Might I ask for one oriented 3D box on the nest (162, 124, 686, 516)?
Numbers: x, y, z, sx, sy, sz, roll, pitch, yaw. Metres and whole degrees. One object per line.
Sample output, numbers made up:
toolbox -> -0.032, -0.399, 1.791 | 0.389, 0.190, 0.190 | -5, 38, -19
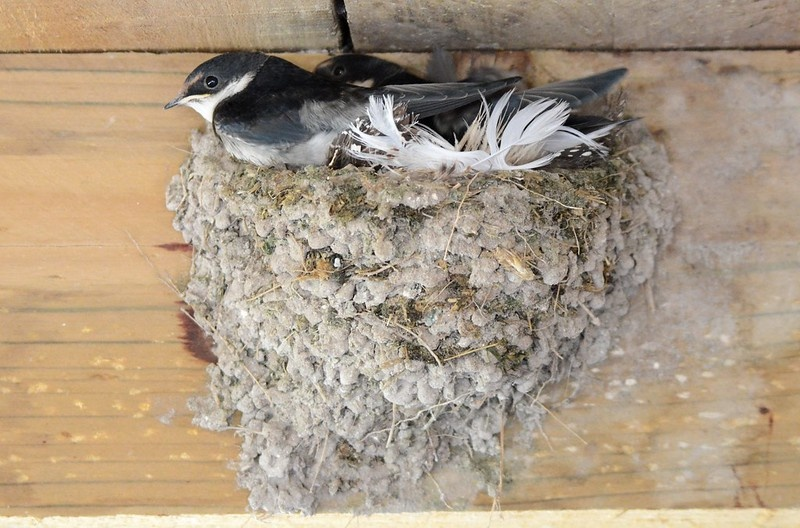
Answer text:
nest -> 0.071, 0.232, 4.837 | 1.715, 1.218, 0.949 | -3, 44, -6
